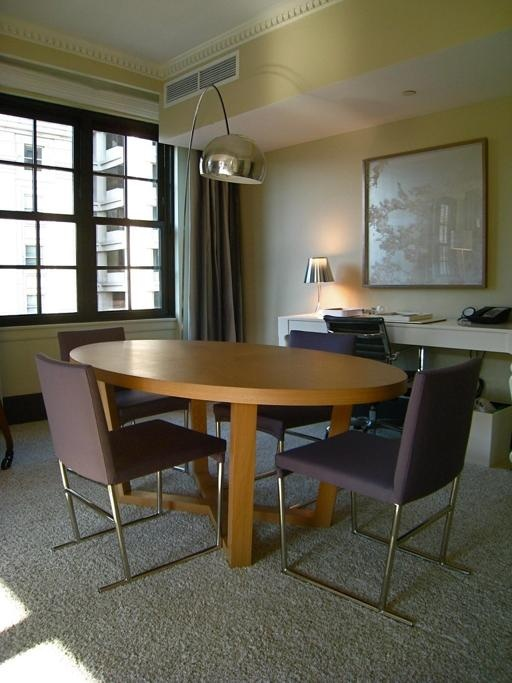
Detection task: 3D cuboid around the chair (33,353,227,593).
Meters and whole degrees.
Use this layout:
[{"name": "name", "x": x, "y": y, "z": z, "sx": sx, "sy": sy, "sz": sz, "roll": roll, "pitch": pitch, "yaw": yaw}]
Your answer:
[{"name": "chair", "x": -0.430, "y": 0.403, "z": 1.818, "sx": 0.566, "sy": 0.730, "sz": 0.389, "roll": -3, "pitch": 5, "yaw": -42}]

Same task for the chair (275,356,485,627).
[{"name": "chair", "x": 0.547, "y": 0.386, "z": 2.031, "sx": 0.741, "sy": 1.135, "sz": 0.663, "roll": 5, "pitch": 6, "yaw": 40}]

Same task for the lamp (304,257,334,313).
[{"name": "lamp", "x": 0.519, "y": -0.468, "z": 4.149, "sx": 0.213, "sy": 0.432, "sz": 0.440, "roll": 1, "pitch": 4, "yaw": 9}]

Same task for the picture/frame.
[{"name": "picture/frame", "x": 1.189, "y": -0.886, "z": 3.520, "sx": 0.050, "sy": 1.076, "sz": 1.046, "roll": -8, "pitch": 11, "yaw": -41}]
